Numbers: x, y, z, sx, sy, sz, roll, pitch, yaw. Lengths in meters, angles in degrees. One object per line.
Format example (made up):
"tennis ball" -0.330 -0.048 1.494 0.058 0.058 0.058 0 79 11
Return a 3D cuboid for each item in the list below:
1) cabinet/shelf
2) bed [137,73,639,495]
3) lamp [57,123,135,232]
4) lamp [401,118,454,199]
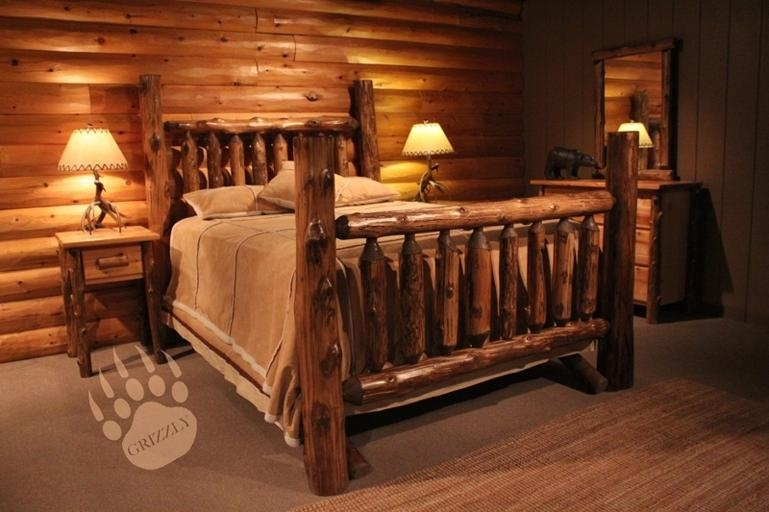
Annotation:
"cabinet/shelf" 2.128 -0.115 5.071 0.616 1.209 1.341 -13 16 -27
"bed" -0.300 -0.237 4.186 2.490 2.190 3.302 -8 13 -35
"lamp" -2.133 -0.573 3.931 0.481 0.706 0.454 -6 11 -27
"lamp" 0.434 -0.908 5.192 0.501 0.767 0.494 7 19 39
